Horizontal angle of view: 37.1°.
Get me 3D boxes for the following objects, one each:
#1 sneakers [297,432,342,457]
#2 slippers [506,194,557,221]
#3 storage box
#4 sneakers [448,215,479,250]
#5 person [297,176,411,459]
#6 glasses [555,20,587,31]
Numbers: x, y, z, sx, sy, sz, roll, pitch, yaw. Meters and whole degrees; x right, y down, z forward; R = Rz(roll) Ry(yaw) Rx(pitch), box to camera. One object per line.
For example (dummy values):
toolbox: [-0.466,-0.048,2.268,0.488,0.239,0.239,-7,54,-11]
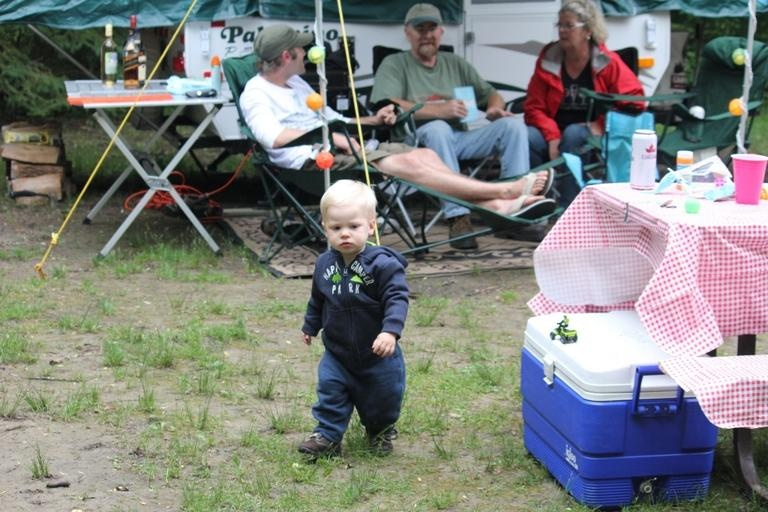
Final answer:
sneakers: [-0.351,1.054,6.358,0.237,0.103,0.108,-2,19,-27]
slippers: [1.130,-0.340,8.577,0.422,0.148,0.127,-1,5,31]
storage box: [1.246,0.781,6.511,0.848,0.737,1.082,-2,14,-13]
sneakers: [0.630,-0.207,9.231,0.164,0.290,0.431,2,8,5]
person: [-0.175,0.375,6.290,0.650,1.478,0.525,-5,21,0]
glasses: [1.522,-1.858,9.349,0.237,0.087,0.086,13,27,38]
